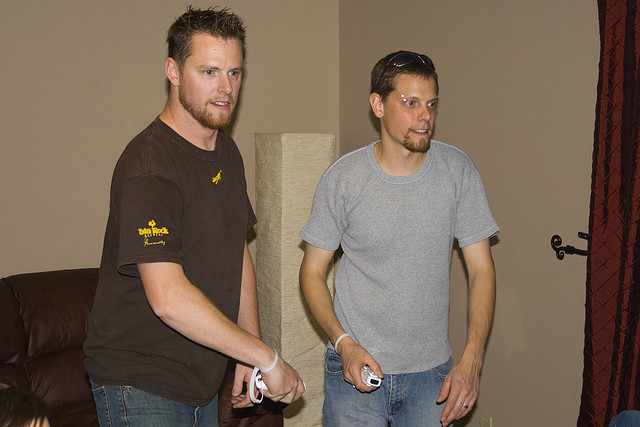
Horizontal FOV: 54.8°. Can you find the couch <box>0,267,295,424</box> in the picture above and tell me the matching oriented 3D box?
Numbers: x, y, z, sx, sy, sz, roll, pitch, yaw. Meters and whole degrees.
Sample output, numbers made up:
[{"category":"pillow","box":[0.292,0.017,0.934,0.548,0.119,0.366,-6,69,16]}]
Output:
[{"category":"couch","box":[-0.842,0.656,3.007,0.959,0.666,0.545,-7,19,-24]}]

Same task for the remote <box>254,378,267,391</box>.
[{"category":"remote","box":[-0.251,0.729,2.652,0.041,0.066,0.020,-27,-5,30]}]

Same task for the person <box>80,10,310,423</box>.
[{"category":"person","box":[-0.576,0.044,2.581,0.782,1.811,0.486,-4,4,-26]}]

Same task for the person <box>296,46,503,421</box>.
[{"category":"person","box":[0.365,0.104,2.867,0.919,1.745,0.433,-2,4,-4]}]

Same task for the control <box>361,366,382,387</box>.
[{"category":"control","box":[0.223,0.717,2.692,0.044,0.047,0.080,-6,17,-24]}]

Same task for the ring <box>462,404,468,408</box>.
[{"category":"ring","box":[0.645,0.862,2.738,0.013,0.010,0.013,0,-1,0]}]
